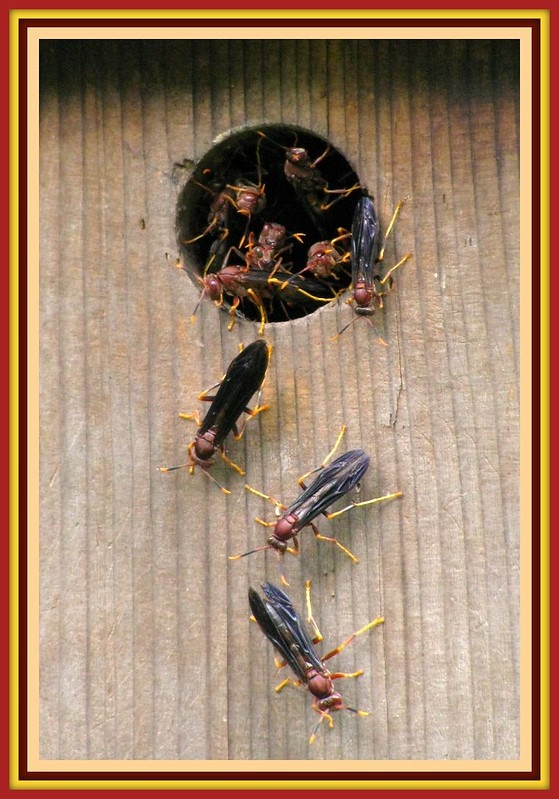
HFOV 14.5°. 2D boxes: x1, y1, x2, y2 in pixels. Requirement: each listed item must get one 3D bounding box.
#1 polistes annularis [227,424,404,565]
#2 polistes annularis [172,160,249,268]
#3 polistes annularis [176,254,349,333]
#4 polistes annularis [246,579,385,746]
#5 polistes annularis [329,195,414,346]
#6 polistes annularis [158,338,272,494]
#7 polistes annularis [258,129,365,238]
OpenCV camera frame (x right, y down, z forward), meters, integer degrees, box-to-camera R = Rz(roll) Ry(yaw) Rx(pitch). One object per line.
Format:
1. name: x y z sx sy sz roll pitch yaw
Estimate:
1. polistes annularis: 0.075 0.315 5.380 0.446 0.129 0.399 -42 13 -12
2. polistes annularis: -0.186 -0.491 5.857 0.147 0.266 0.072 4 23 -10
3. polistes annularis: -0.078 -0.277 5.741 0.289 0.126 0.224 -12 33 -32
4. polistes annularis: 0.059 0.616 5.317 0.243 0.406 0.113 -37 0 27
5. polistes annularis: 0.219 -0.324 5.438 0.205 0.375 0.091 7 7 41
6. polistes annularis: -0.160 0.064 5.445 0.219 0.434 0.114 26 12 20
7. polistes annularis: 0.073 -0.584 5.805 0.164 0.249 0.074 -20 32 25
